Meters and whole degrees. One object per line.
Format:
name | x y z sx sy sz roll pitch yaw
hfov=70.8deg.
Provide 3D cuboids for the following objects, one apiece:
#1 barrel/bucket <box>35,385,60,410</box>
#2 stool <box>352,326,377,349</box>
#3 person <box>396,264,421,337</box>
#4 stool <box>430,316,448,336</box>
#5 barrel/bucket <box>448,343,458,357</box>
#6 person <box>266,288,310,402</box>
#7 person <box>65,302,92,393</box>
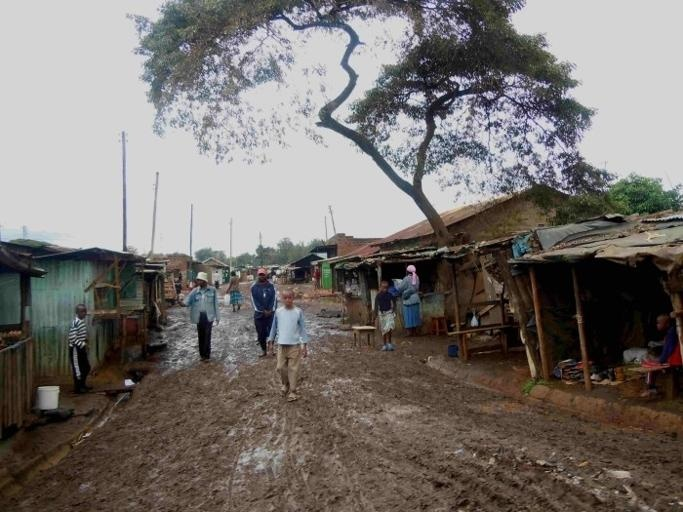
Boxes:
barrel/bucket | -5.709 2.793 9.459 0.350 0.361 0.452 -3 -7 41
stool | 0.670 2.383 14.274 0.680 0.713 0.710 0 -7 -7
person | 2.235 1.524 16.129 0.682 2.326 0.674 -2 7 20
stool | 3.248 2.382 16.220 0.555 0.663 0.571 -2 0 37
barrel/bucket | 2.879 2.488 12.458 0.244 0.231 0.254 0 -4 0
person | -1.017 1.727 9.366 0.603 2.129 0.946 -7 7 -24
person | -5.833 2.107 10.755 0.431 1.970 0.545 -8 7 -31
